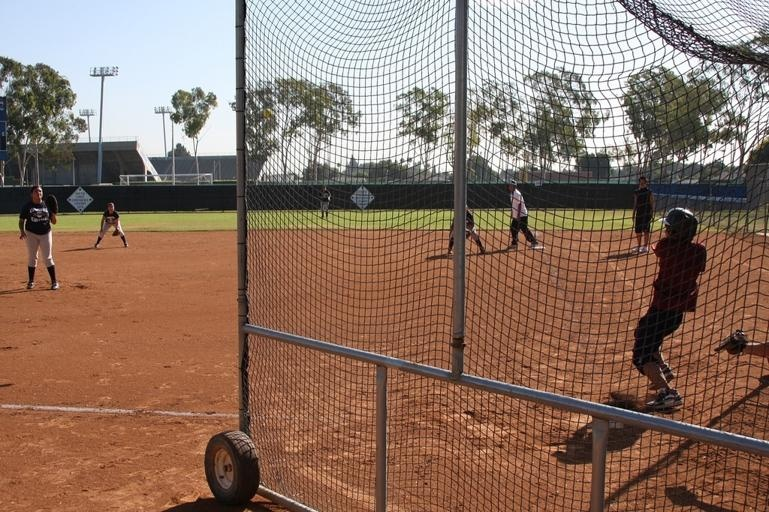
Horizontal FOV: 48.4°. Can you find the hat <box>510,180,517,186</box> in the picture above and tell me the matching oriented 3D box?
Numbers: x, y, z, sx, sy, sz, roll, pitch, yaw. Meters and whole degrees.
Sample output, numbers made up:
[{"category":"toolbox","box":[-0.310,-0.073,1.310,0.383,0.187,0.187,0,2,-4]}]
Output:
[{"category":"hat","box":[1.209,-0.695,8.028,0.067,0.066,0.045,-6,12,-36]}]

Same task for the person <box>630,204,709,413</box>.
[{"category":"person","box":[3.134,0.567,9.478,0.690,2.438,0.750,-11,17,-36]}]

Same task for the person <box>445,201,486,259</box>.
[{"category":"person","box":[1.435,-0.494,14.973,0.855,1.080,0.376,-8,30,-20]}]

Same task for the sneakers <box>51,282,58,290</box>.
[{"category":"sneakers","box":[-6.166,0.557,16.007,0.114,0.159,0.153,1,0,-45]}]

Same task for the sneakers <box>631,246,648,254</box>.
[{"category":"sneakers","box":[3.973,-0.103,13.296,0.326,0.142,0.120,7,-3,-38]}]

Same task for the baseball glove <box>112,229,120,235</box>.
[{"category":"baseball glove","box":[-7.375,-0.650,23.493,0.270,0.190,0.070,8,-2,25]}]

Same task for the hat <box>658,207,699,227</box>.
[{"category":"hat","box":[3.106,-0.421,8.935,0.229,0.153,0.309,1,14,2]}]

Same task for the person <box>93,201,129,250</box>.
[{"category":"person","box":[-7.390,-0.842,23.010,0.861,1.233,0.705,3,12,1]}]
